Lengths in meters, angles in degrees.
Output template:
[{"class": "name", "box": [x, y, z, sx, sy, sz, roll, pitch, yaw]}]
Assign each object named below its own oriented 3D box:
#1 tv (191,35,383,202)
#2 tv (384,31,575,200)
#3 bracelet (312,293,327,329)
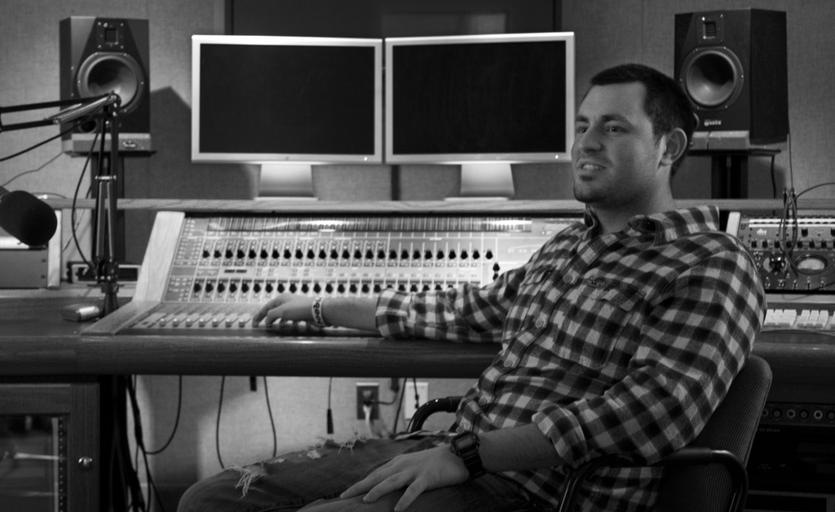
[{"class": "tv", "box": [-0.574, -0.636, 3.561, 0.891, 0.682, 0.203, 0, -1, -2]}, {"class": "tv", "box": [0.264, -0.635, 3.536, 0.896, 0.688, 0.229, 0, -1, 4]}, {"class": "bracelet", "box": [-0.349, 0.202, 2.863, 0.034, 0.087, 0.078, -3, 18, 7]}]
